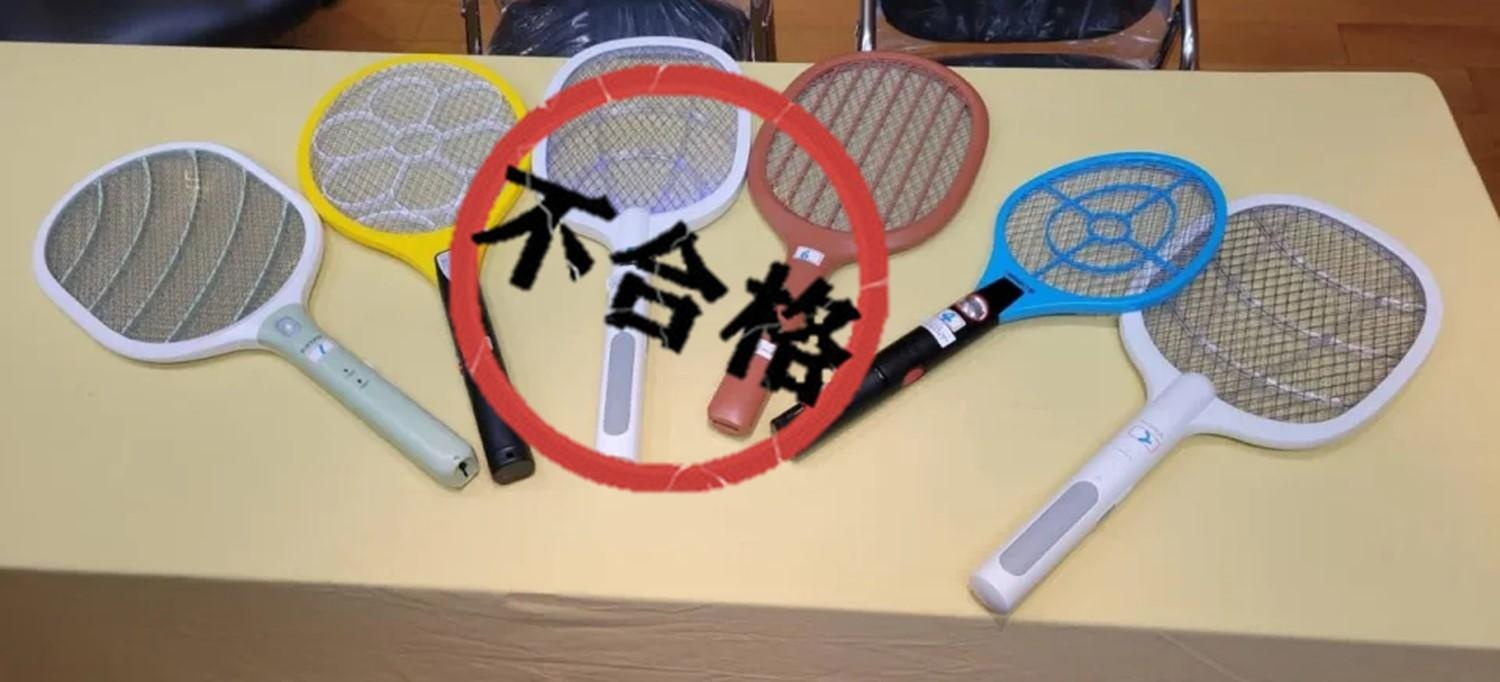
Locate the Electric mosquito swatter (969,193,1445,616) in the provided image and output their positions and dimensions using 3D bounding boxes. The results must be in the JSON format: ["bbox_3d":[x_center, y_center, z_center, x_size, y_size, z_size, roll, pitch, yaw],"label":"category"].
[{"bbox_3d":[0.915,0.164,2.702,1.108,0.119,0.576,-41,78,-10],"label":"Electric mosquito swatter"}]

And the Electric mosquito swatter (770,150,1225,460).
[{"bbox_3d":[0.515,-0.014,2.779,1.140,0.083,0.423,-29,66,-2],"label":"Electric mosquito swatter"}]

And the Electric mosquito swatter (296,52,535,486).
[{"bbox_3d":[-0.636,-0.184,2.590,0.506,0.104,0.884,-17,67,-7],"label":"Electric mosquito swatter"}]

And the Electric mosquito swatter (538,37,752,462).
[{"bbox_3d":[-0.229,-0.212,2.486,0.481,0.138,0.844,5,78,2],"label":"Electric mosquito swatter"}]

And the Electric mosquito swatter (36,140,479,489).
[{"bbox_3d":[-1.052,-0.001,2.795,1.041,0.111,0.505,37,70,11],"label":"Electric mosquito swatter"}]

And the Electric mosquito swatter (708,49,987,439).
[{"bbox_3d":[0.148,-0.211,2.629,0.485,0.085,0.892,33,78,4],"label":"Electric mosquito swatter"}]
